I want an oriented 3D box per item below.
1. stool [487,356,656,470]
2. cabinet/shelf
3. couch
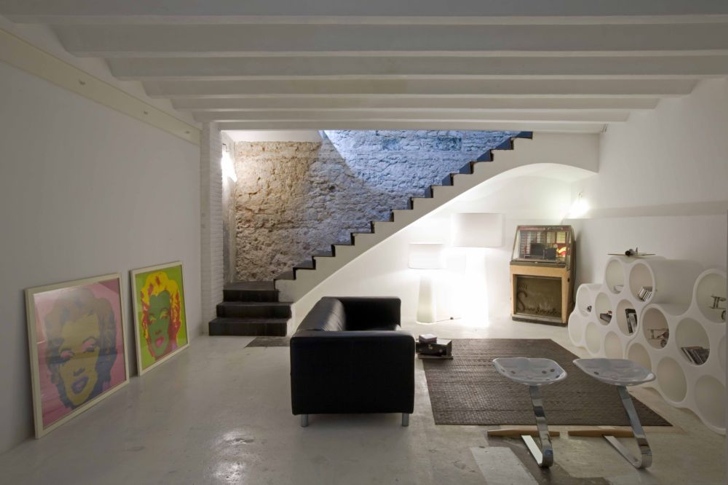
[{"bbox_3d":[2.021,1.598,4.669,1.384,0.965,0.642,1,-2,4],"label":"stool"},{"bbox_3d":[3.125,0.526,8.447,0.998,1.700,0.553,0,-2,35],"label":"cabinet/shelf"},{"bbox_3d":[-0.130,1.299,5.752,1.257,1.241,1.702,1,-2,0],"label":"couch"}]
